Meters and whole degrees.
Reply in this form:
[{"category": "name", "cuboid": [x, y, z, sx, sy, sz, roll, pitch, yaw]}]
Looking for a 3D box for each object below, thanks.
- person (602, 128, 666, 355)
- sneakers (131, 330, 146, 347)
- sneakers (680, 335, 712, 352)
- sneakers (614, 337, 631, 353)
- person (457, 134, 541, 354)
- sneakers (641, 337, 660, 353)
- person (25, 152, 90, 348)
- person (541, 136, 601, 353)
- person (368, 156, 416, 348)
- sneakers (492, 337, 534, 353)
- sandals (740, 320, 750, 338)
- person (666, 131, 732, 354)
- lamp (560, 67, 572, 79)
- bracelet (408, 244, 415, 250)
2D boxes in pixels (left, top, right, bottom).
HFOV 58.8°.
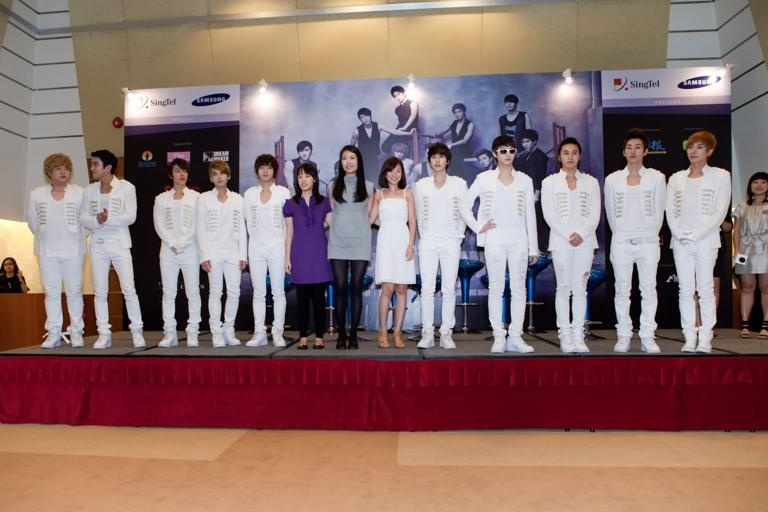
[{"category": "person", "cuboid": [2.828, -0.187, 7.636, 0.655, 2.491, 0.459, -1, 1, 17]}, {"category": "sneakers", "cuboid": [-2.900, 0.972, 8.091, 0.149, 0.202, 0.226, -1, 0, -20]}, {"category": "sneakers", "cuboid": [3.452, 0.969, 7.524, 0.334, 0.165, 0.259, -1, 0, 14]}, {"category": "sneakers", "cuboid": [2.661, 0.977, 7.605, 0.176, 0.159, 0.348, -1, 0, 16]}, {"category": "person", "cuboid": [1.333, -0.162, 7.709, 0.782, 2.460, 0.508, -1, 1, 11]}, {"category": "sneakers", "cuboid": [2.953, 0.983, 7.525, 0.203, 0.156, 0.226, -1, 0, 22]}, {"category": "person", "cuboid": [-3.885, -0.081, 8.107, 0.637, 2.307, 0.387, -1, 1, -15]}, {"category": "person", "cuboid": [2.120, -0.145, 7.677, 0.642, 2.413, 0.499, -1, 1, 12]}, {"category": "person", "cuboid": [0.120, -0.051, 7.981, 0.530, 2.210, 0.311, -1, 1, 2]}, {"category": "sneakers", "cuboid": [1.423, 0.994, 7.558, 0.345, 0.122, 0.227, -4, -9, 24]}, {"category": "sandals", "cuboid": [4.605, 0.930, 8.678, 0.129, 0.166, 0.427, -3, -11, 19]}, {"category": "person", "cuboid": [3.536, -0.182, 7.639, 0.674, 2.466, 0.518, -1, 1, 16]}, {"category": "lamp", "cuboid": [2.547, -2.539, 9.454, 0.121, 0.189, 0.249, -1, 0, 19]}, {"category": "bracelet", "cuboid": [0.326, -0.108, 7.932, 0.106, 0.044, 0.143, -1, 0, 4]}]
